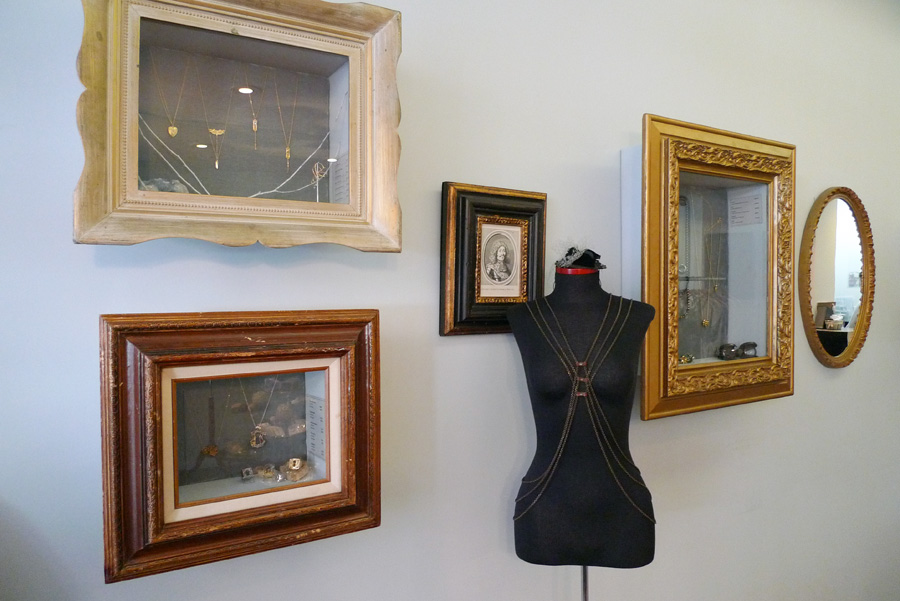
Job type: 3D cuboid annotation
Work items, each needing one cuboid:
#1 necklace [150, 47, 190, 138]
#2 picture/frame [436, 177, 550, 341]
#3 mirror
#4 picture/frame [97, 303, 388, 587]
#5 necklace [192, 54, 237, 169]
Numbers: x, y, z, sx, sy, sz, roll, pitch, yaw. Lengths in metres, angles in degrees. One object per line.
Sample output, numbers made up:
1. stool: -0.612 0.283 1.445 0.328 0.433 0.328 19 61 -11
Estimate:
1. necklace: -0.872 -0.643 2.287 0.116 0.267 0.009 -2 2 -20
2. picture/frame: 0.138 -0.148 2.708 0.545 0.748 0.055 0 0 -34
3. mirror: 1.823 -0.110 3.459 0.426 0.842 0.055 -2 2 -19
4. picture/frame: -0.696 0.438 2.344 0.820 0.886 0.074 -2 0 -26
5. necklace: -0.756 -0.595 2.322 0.109 0.349 0.013 -2 1 -12
